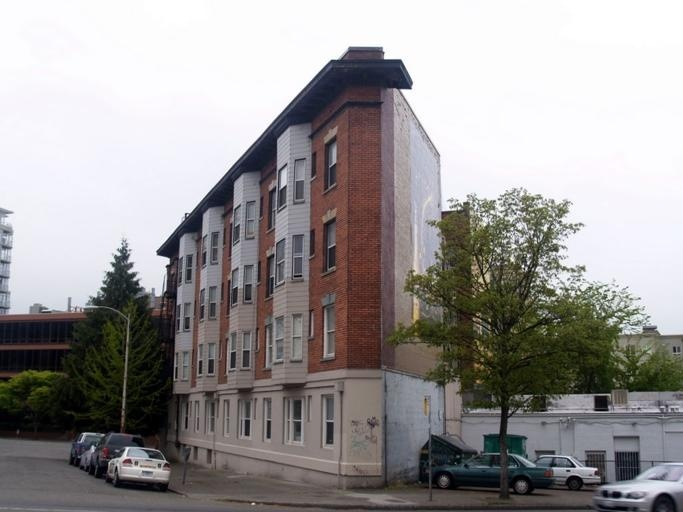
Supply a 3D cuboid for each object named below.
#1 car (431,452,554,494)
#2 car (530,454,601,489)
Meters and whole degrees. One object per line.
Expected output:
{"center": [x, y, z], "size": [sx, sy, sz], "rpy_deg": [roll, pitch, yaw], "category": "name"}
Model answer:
{"center": [7.141, 10.095, 36.883], "size": [5.379, 1.797, 1.405], "rpy_deg": [4, -14, -5], "category": "car"}
{"center": [11.427, 11.690, 43.136], "size": [4.851, 1.817, 2.197], "rpy_deg": [-1, -12, 11], "category": "car"}
